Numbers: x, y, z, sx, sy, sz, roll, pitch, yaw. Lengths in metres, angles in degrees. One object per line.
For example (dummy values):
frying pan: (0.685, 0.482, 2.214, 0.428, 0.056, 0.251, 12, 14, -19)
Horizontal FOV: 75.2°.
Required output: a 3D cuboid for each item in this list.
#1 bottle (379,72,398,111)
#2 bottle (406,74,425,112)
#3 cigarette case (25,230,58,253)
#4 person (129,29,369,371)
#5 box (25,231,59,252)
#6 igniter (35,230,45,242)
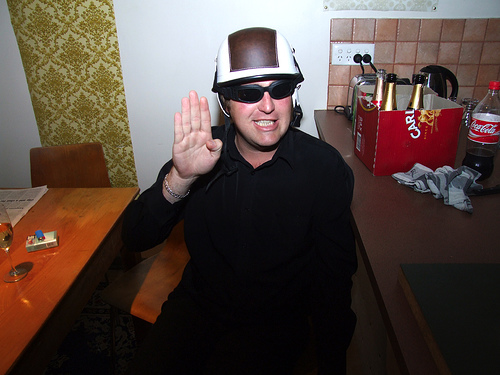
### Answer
bottle: (0.641, -0.434, 1.489, 0.072, 0.162, 0.287, 9, 28, 20)
bottle: (0.771, -0.440, 1.492, 0.063, 0.160, 0.192, 12, 29, 25)
cigarette case: (-0.891, 0.229, 1.401, 0.081, 0.025, 0.092, -8, 25, -14)
person: (-0.001, 0.053, 1.235, 0.875, 1.163, 0.658, -1, 25, 0)
box: (-0.892, 0.229, 1.402, 0.104, 0.034, 0.079, -8, 28, -22)
igniter: (-0.903, 0.207, 1.399, 0.026, 0.013, 0.056, -2, 46, -36)
